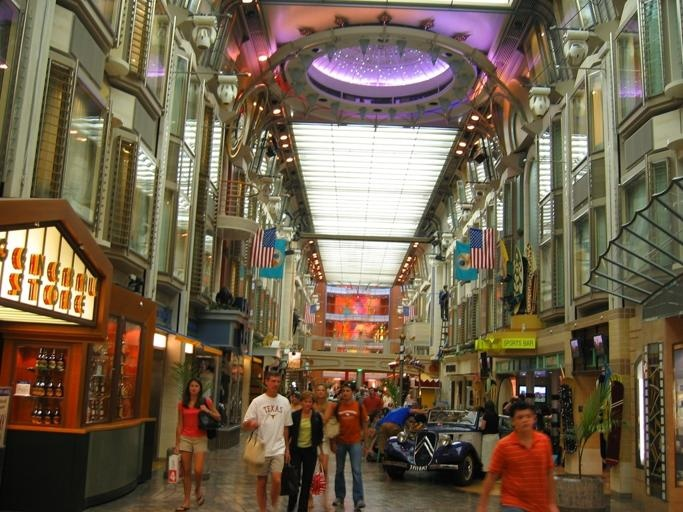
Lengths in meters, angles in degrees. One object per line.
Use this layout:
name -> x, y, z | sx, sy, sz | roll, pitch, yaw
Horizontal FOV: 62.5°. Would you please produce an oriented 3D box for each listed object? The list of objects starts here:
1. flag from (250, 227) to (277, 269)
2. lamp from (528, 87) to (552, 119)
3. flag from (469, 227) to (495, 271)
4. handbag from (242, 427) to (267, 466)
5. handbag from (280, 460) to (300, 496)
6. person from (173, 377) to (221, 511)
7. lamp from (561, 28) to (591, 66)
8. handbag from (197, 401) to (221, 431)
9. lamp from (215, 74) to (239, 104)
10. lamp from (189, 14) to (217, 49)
flag -> -3.787, -0.370, 27.188 | 1.078, 1.738, 1.072 | 5, -17, -13
lamp -> 7.089, -5.441, 20.220 | 0.922, 1.279, 0.960 | 2, -7, 10
flag -> 6.992, -0.245, 27.770 | 1.385, 0.128, 2.273 | 0, -57, 14
handbag -> -1.402, 3.035, 8.884 | 0.279, 0.527, 0.393 | 13, -21, -36
handbag -> -0.837, 3.697, 9.282 | 0.248, 0.482, 0.468 | -2, -18, 10
person -> -2.755, 3.540, 10.631 | 0.767, 2.322, 0.790 | 6, -17, -15
lamp -> 6.938, -5.952, 16.389 | 0.586, 0.902, 0.463 | 11, 17, 34
handbag -> -2.479, 3.034, 10.587 | 0.431, 0.420, 0.291 | -1, -17, 6
lamp -> -3.748, -5.384, 18.352 | 0.604, 0.987, 1.082 | 6, -18, -15
lamp -> -4.045, -6.568, 16.369 | 0.700, 0.984, 0.774 | -2, 15, -18
